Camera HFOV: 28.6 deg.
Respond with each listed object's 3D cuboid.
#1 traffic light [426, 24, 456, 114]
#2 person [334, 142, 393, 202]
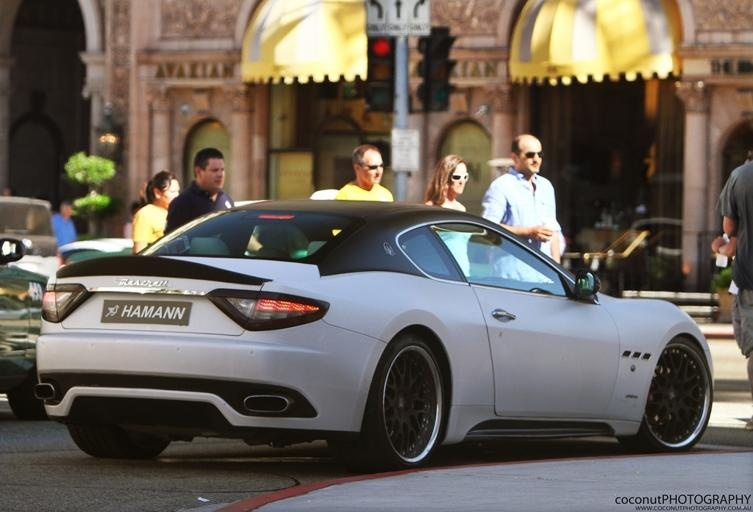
[{"bbox_3d":[0.899,-2.645,20.548,0.388,1.315,0.142,-5,45,-3],"label":"traffic light"},{"bbox_3d":[-0.103,-0.798,15.519,0.702,0.734,0.432,-1,8,-37],"label":"person"}]
